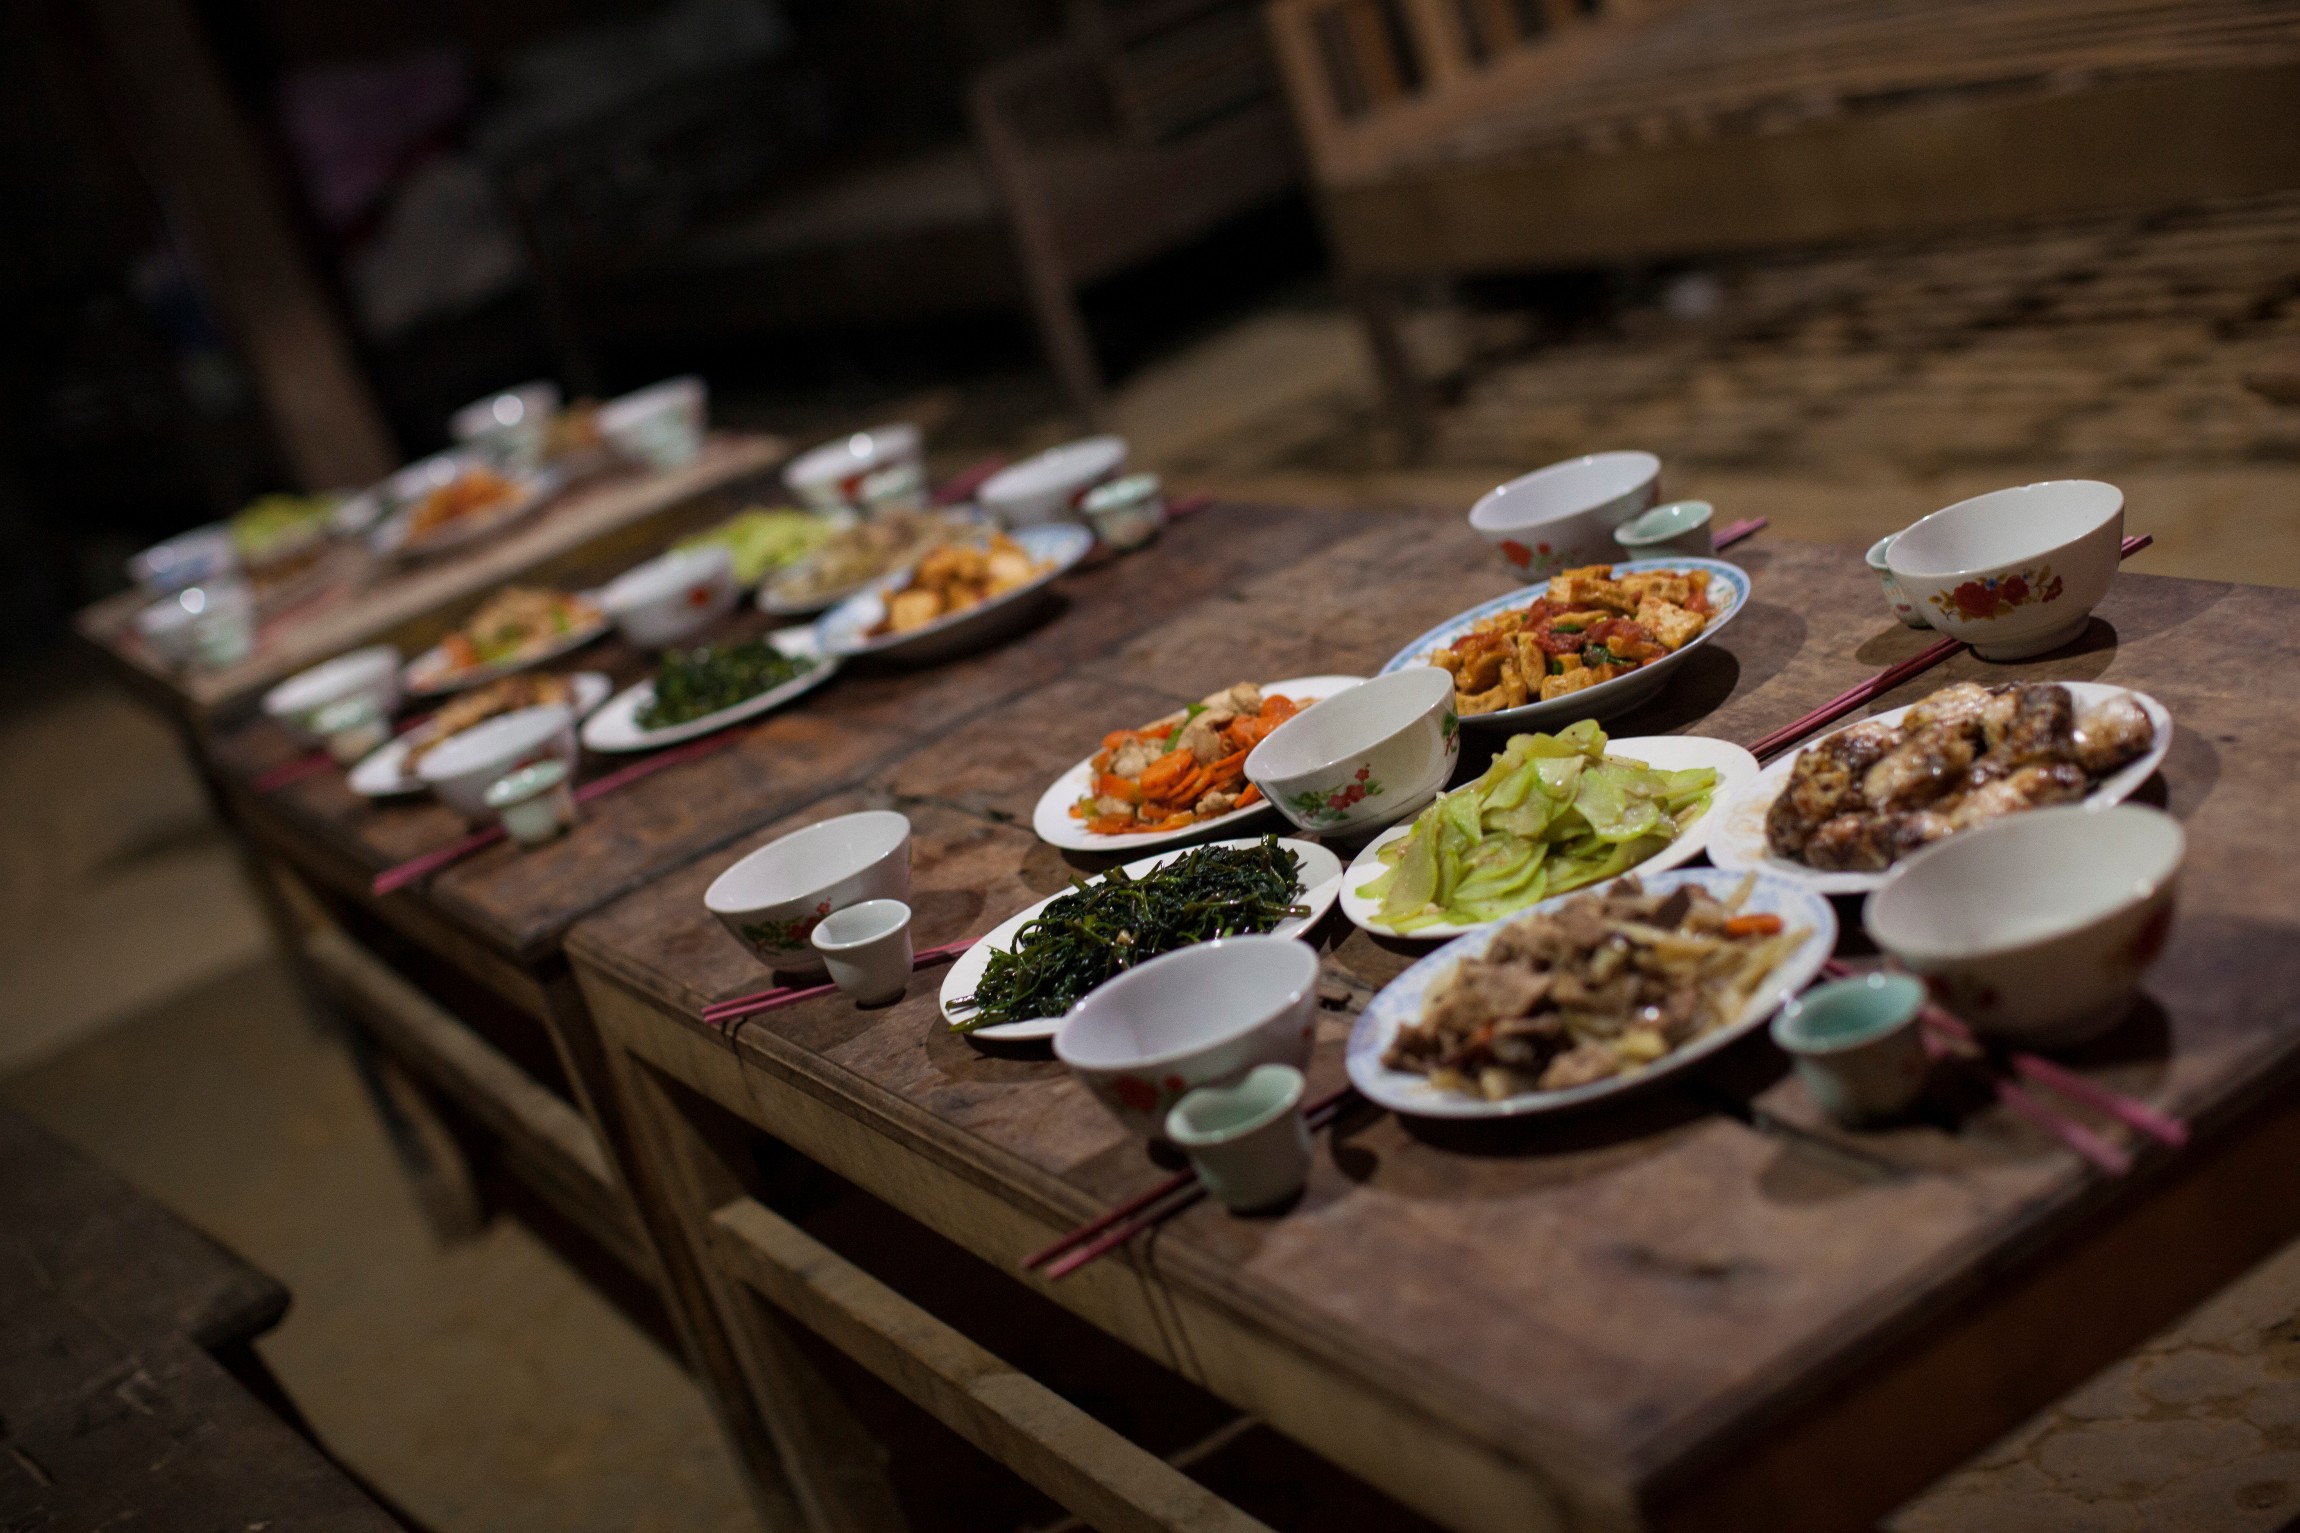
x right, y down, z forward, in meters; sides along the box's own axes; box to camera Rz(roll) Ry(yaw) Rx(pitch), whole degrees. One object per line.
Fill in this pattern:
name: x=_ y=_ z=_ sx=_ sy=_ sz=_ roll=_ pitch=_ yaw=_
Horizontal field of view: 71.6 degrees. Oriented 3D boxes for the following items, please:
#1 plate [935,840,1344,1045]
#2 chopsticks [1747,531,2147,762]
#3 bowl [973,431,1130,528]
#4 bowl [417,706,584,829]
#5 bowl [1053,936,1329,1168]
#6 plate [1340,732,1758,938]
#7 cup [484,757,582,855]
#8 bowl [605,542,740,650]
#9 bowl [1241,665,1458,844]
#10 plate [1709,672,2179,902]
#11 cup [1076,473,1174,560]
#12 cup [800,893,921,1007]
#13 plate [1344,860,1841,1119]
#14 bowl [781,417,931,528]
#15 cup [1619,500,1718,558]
plate: x=-0.053 y=0.193 z=1.663 sx=0.273 sy=0.043 sz=0.269 roll=-25 pitch=11 yaw=-40
chopsticks: x=0.793 y=-0.113 z=1.569 sx=0.677 sy=0.023 sz=0.023 roll=-21 pitch=67 yaw=-8
bowl: x=-0.171 y=-0.512 z=2.844 sx=0.215 sy=0.077 sz=0.217 roll=-18 pitch=15 yaw=5
bowl: x=-1.001 y=-0.031 z=2.527 sx=0.222 sy=0.102 sz=0.216 roll=-18 pitch=14 yaw=5
bowl: x=0.074 y=0.243 z=1.411 sx=0.207 sy=0.114 sz=0.205 roll=-25 pitch=10 yaw=5
plate: x=0.364 y=0.060 z=1.499 sx=0.278 sy=0.095 sz=0.248 roll=-24 pitch=15 yaw=-12
cup: x=-0.897 y=0.058 z=2.392 sx=0.130 sy=0.087 sz=0.123 roll=-17 pitch=20 yaw=7
bowl: x=-0.874 y=-0.320 z=2.961 sx=0.241 sy=0.106 sz=0.230 roll=-11 pitch=34 yaw=8
bowl: x=0.212 y=0.004 z=1.708 sx=0.198 sy=0.095 sz=0.199 roll=-28 pitch=17 yaw=10
plate: x=0.641 y=0.053 z=1.369 sx=0.263 sy=0.039 sz=0.264 roll=-7 pitch=26 yaw=48
cup: x=-0.040 y=-0.424 z=2.728 sx=0.143 sy=0.096 sz=0.136 roll=-11 pitch=14 yaw=3
cup: x=-0.313 y=0.190 z=1.761 sx=0.111 sy=0.086 sz=0.111 roll=-14 pitch=31 yaw=9
plate: x=0.363 y=0.182 z=1.329 sx=0.407 sy=0.128 sz=0.208 roll=-18 pitch=36 yaw=-7
bowl: x=-0.604 y=-0.613 z=3.258 sx=0.257 sy=0.165 sz=0.250 roll=-21 pitch=13 yaw=5
cup: x=0.632 y=-0.299 z=1.936 sx=0.086 sy=0.060 sz=0.083 roll=-9 pitch=31 yaw=5
